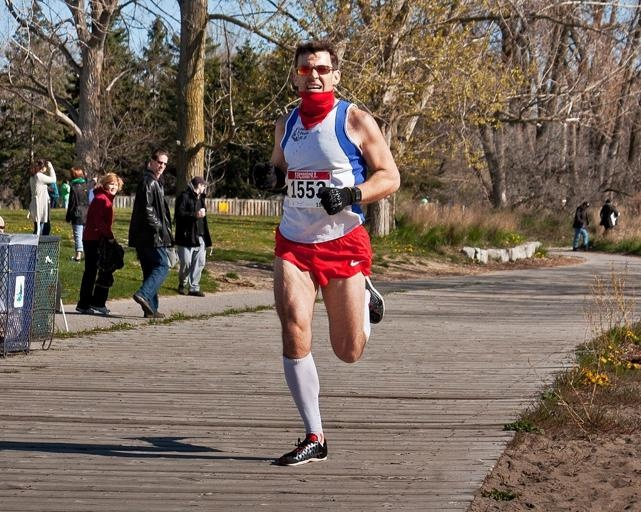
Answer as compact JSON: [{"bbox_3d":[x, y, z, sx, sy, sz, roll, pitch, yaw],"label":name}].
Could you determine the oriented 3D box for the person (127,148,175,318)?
[{"bbox_3d":[-2.373,-0.292,14.878,0.678,2.325,0.549,-3,7,-32],"label":"person"}]

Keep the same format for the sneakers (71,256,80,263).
[{"bbox_3d":[-4.716,0.099,20.453,0.091,0.134,0.289,4,8,-21],"label":"sneakers"}]

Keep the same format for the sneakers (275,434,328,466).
[{"bbox_3d":[-0.123,1.682,9.192,0.560,0.297,0.187,1,0,-35],"label":"sneakers"}]

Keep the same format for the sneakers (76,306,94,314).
[{"bbox_3d":[-3.363,0.794,15.133,0.259,0.128,0.094,6,9,-18],"label":"sneakers"}]

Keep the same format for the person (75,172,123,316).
[{"bbox_3d":[-3.174,-0.160,15.238,0.662,2.004,0.790,-1,7,-14],"label":"person"}]

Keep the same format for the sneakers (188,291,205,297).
[{"bbox_3d":[-2.058,0.647,17.680,0.272,0.134,0.098,0,4,6],"label":"sneakers"}]

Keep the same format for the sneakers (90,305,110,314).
[{"bbox_3d":[-3.146,0.786,15.128,0.293,0.147,0.108,3,2,2],"label":"sneakers"}]

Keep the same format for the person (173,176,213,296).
[{"bbox_3d":[-2.071,-0.250,17.204,0.554,1.960,0.946,0,7,-8],"label":"person"}]

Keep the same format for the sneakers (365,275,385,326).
[{"bbox_3d":[0.465,0.436,9.642,0.180,0.502,0.149,-22,21,-39],"label":"sneakers"}]

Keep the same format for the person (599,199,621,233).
[{"bbox_3d":[10.297,-1.324,38.042,0.583,1.401,0.440,10,32,30],"label":"person"}]

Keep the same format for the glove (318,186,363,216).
[{"bbox_3d":[0.157,-0.452,8.955,0.297,0.217,0.110,-13,-14,-40],"label":"glove"}]
